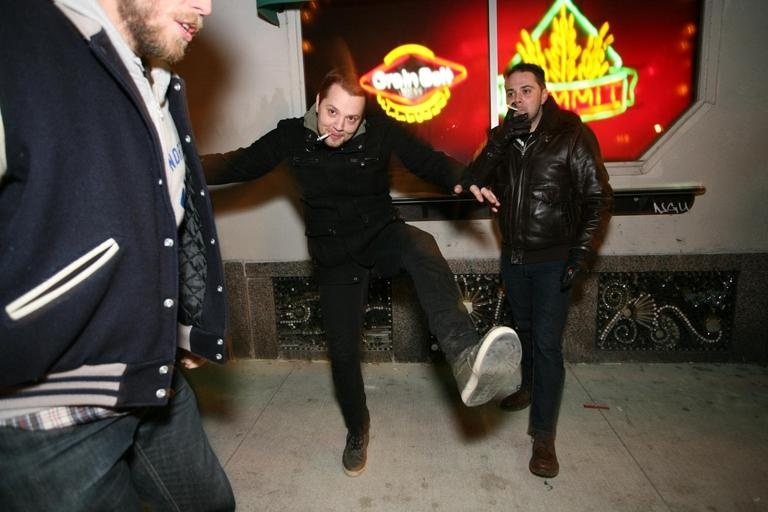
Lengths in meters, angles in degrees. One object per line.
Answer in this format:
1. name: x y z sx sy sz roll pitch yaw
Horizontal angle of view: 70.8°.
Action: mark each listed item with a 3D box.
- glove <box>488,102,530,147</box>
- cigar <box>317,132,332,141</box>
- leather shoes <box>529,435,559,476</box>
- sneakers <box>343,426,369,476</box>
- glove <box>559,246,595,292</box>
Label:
1. glove: 0.942 -0.941 3.985 0.310 0.299 0.098 -3 -6 38
2. cigar: -0.405 -0.817 3.692 0.058 0.016 0.058 -17 -2 26
3. leather shoes: 1.143 1.405 3.821 0.203 0.223 0.220 4 14 19
4. sneakers: -0.194 1.387 3.897 0.131 0.153 0.363 2 24 2
5. glove: 1.357 0.096 3.869 0.186 0.325 0.092 40 12 33
